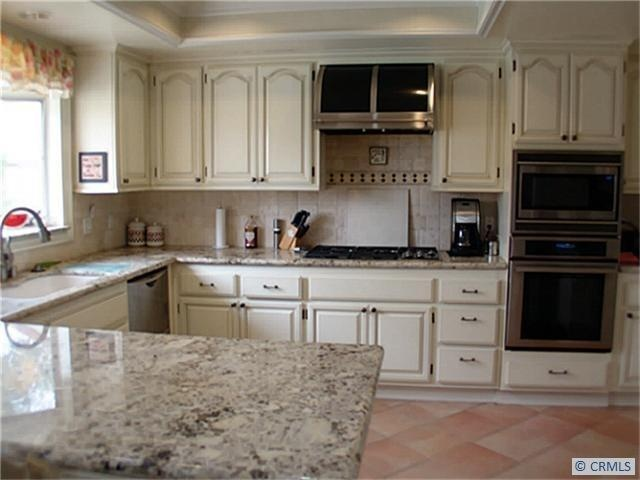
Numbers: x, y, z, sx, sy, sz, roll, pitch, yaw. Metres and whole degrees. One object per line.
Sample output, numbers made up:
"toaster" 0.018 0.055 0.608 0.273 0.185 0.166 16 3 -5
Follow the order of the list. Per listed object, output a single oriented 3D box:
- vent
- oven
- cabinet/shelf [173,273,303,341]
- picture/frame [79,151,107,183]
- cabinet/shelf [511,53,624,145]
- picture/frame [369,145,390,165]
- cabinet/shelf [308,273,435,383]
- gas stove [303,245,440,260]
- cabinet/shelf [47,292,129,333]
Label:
"vent" 0.403 -1.047 3.995 0.852 0.463 0.347 2 14 12
"oven" 1.679 0.083 3.781 0.718 1.379 0.242 1 13 6
"cabinet/shelf" -0.549 0.479 3.965 0.507 0.413 0.194 1 1 8
"picture/frame" -1.632 -0.537 3.938 0.230 0.238 0.017 0 6 3
"cabinet/shelf" 1.688 -0.969 3.905 0.836 0.709 0.363 0 2 -4
"picture/frame" 0.480 -0.686 4.395 0.158 0.154 0.037 1 2 5
"cabinet/shelf" 0.368 0.637 4.092 0.964 0.809 0.338 1 3 7
"gas stove" 0.394 0.094 4.204 0.983 0.043 0.551 1 13 6
"cabinet/shelf" -1.377 0.406 3.283 0.192 0.228 0.357 1 4 5
